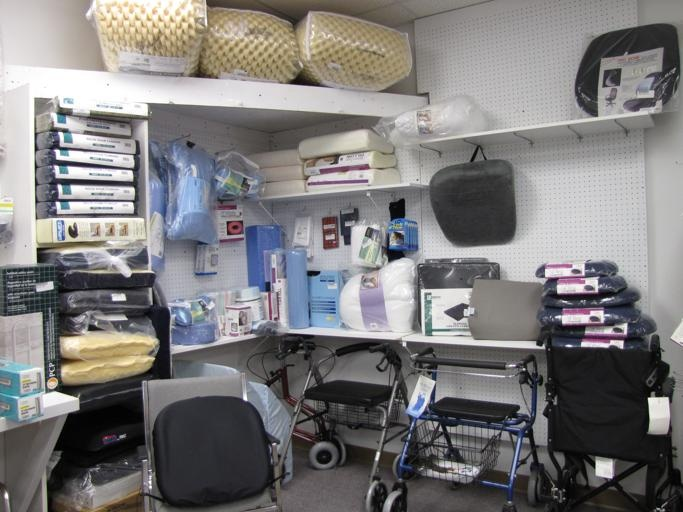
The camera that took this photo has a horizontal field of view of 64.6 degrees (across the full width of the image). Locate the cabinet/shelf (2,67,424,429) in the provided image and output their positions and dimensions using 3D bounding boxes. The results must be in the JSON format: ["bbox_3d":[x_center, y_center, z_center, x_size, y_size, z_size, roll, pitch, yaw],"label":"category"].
[{"bbox_3d":[-0.807,-0.089,3.559,0.809,1.629,2.732,-3,-1,43],"label":"cabinet/shelf"}]

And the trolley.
[{"bbox_3d":[0.412,1.052,3.809,1.704,0.963,1.095,-2,-4,26],"label":"trolley"}]
